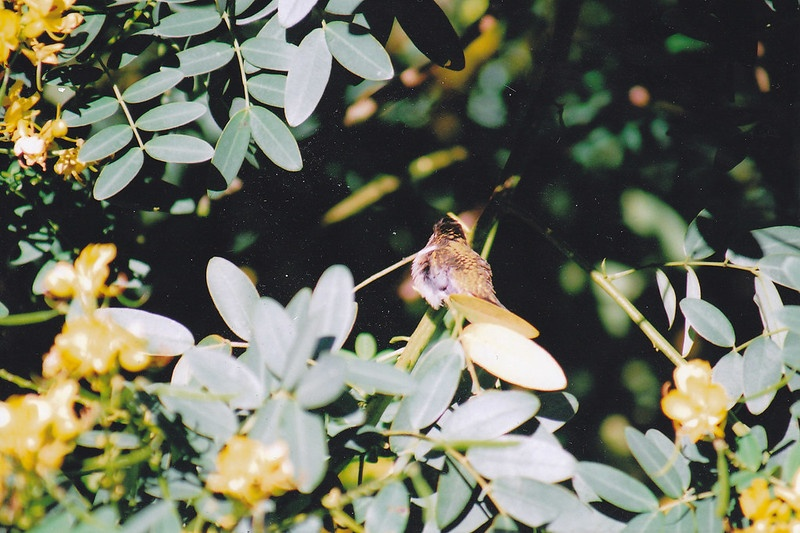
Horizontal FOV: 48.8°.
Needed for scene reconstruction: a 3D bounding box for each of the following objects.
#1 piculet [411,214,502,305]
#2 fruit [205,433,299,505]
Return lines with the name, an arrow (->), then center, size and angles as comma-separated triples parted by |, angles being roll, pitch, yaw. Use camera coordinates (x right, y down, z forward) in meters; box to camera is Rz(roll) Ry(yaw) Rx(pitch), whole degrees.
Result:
piculet -> 0.098, -0.008, 1.924 | 0.130, 0.147, 0.219 | 11, 15, -28
fruit -> -0.262, 0.348, 1.549 | 0.157, 0.156, 0.066 | 10, 18, 21
